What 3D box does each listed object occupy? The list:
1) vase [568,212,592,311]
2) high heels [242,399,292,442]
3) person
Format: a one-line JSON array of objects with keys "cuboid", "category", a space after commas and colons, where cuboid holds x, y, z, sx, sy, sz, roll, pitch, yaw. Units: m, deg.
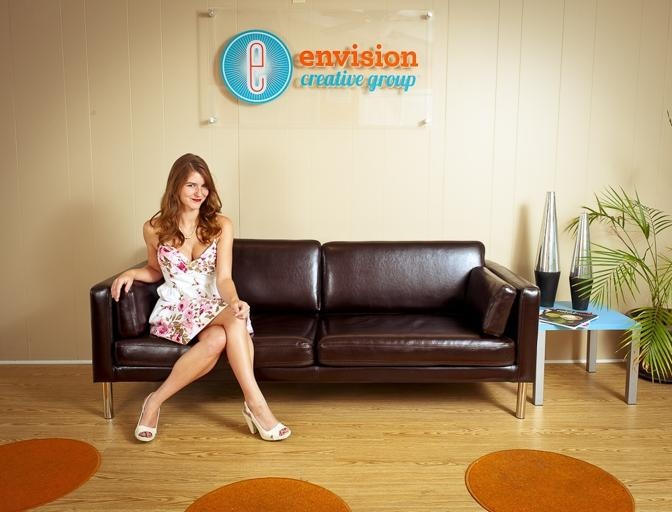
[{"cuboid": [1.696, 0.043, 4.058, 0.141, 0.636, 0.306, 4, 13, 21], "category": "vase"}, {"cuboid": [-0.388, 0.942, 3.398, 0.380, 0.194, 0.129, 8, 12, 24], "category": "high heels"}, {"cuboid": [-0.847, 0.216, 3.441, 0.925, 1.553, 0.786, -2, 12, -9], "category": "person"}]
